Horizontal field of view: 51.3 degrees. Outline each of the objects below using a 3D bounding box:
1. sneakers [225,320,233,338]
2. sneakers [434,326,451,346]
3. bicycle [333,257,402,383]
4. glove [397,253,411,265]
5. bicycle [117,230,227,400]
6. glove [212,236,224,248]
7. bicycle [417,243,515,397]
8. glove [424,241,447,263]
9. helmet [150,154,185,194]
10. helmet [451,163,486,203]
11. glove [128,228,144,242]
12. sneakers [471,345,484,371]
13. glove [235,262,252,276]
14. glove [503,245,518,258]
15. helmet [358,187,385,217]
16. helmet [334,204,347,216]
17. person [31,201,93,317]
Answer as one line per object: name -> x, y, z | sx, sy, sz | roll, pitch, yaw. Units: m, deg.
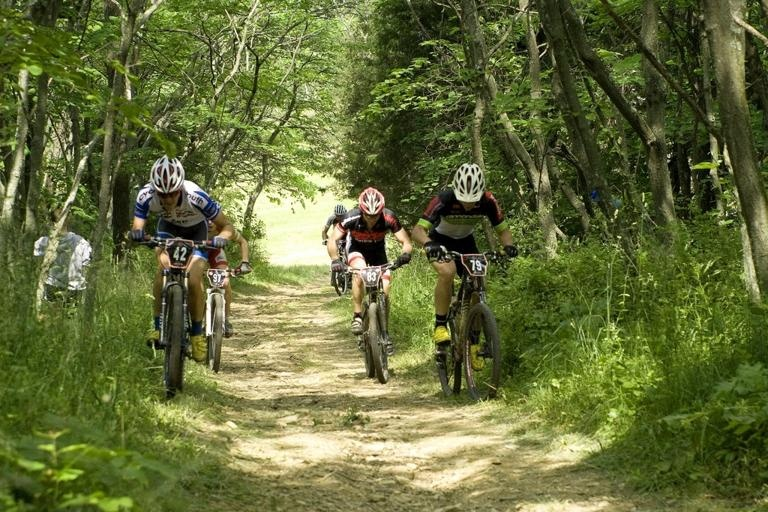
sneakers -> -2.336, 1.076, 11.983 | 0.143, 0.104, 0.239 | 3, 25, -15
sneakers -> 0.770, 1.065, 10.668 | 0.275, 0.137, 0.386 | 2, 4, 5
bicycle -> -0.192, 0.906, 11.367 | 0.704, 1.794, 1.114 | 0, 5, -5
glove -> 0.258, 0.036, 10.494 | 0.162, 0.057, 0.125 | -9, 2, -37
bicycle -> -2.577, 0.664, 9.620 | 0.839, 1.845, 1.177 | -4, 6, -38
glove -> -1.947, -0.162, 9.360 | 0.138, 0.139, 0.240 | -3, 6, -32
bicycle -> 1.073, 0.874, 10.208 | 0.799, 1.955, 1.417 | -1, 5, -17
glove -> 0.620, -0.053, 9.937 | 0.264, 0.256, 0.326 | 0, 5, 4
helmet -> -2.503, -0.933, 9.208 | 0.359, 0.424, 0.486 | -1, 5, -16
helmet -> 1.058, -0.915, 9.997 | 0.344, 0.489, 0.176 | 4, 8, 5
glove -> -2.864, -0.233, 9.226 | 0.147, 0.137, 0.332 | -1, 5, -14
sneakers -> 1.111, 1.268, 9.965 | 0.095, 0.272, 0.267 | -10, 42, -13
glove -> -1.838, 0.156, 10.344 | 0.199, 0.079, 0.195 | 5, 6, 35
glove -> 1.591, -0.066, 10.137 | 0.162, 0.141, 0.237 | 1, 5, 8
helmet -> -0.190, -0.778, 11.422 | 0.337, 0.380, 0.419 | 0, 5, -1
helmet -> -1.042, -1.068, 18.540 | 0.319, 0.406, 0.435 | -1, 2, -7
person -> -3.893, 0.035, 9.699 | 0.630, 1.018, 2.567 | -2, 5, -21
